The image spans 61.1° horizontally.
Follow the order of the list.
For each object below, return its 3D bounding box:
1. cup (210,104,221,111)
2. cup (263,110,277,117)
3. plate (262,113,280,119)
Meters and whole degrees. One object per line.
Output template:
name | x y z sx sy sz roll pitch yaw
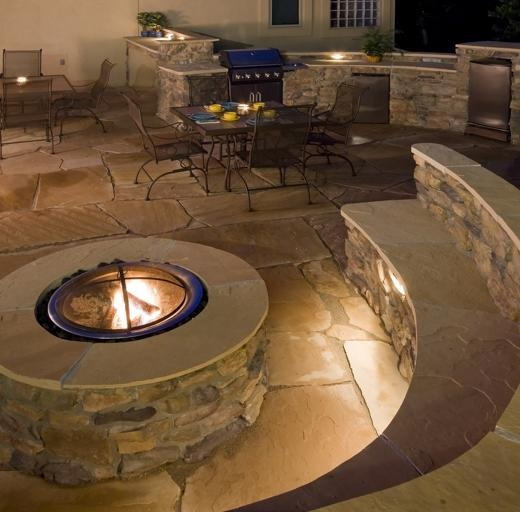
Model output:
cup | -0.547 -1.824 5.384 0.118 0.054 0.111 -1 19 0
cup | 0.111 -1.625 5.004 0.122 0.057 0.105 -2 18 -6
plate | 0.119 -1.606 5.011 0.130 0.039 0.113 -7 20 -16
